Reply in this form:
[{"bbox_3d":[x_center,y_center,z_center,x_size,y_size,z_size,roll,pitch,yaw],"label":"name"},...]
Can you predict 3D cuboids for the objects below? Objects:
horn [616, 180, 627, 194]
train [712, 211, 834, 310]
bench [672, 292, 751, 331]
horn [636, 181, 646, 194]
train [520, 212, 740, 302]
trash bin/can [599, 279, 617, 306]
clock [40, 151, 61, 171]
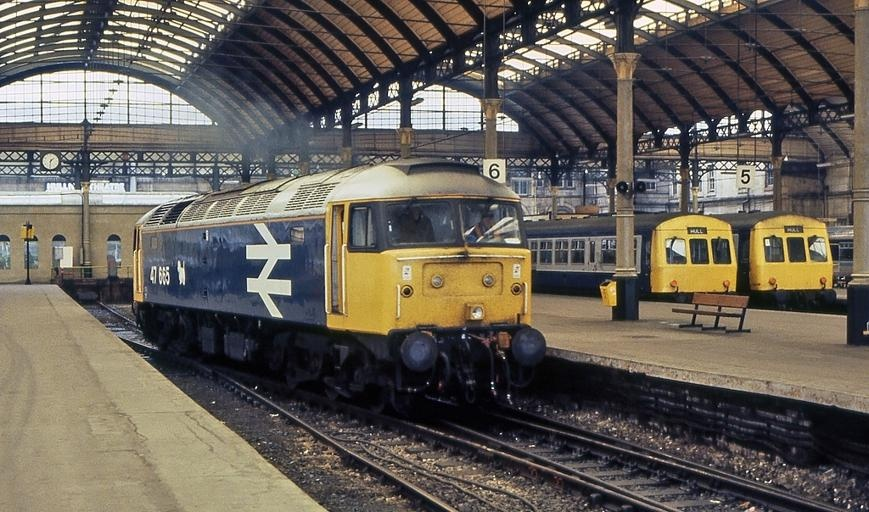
[{"bbox_3d":[7.022,-2.553,35.171,0.438,0.457,0.350,-2,2,3],"label":"horn"},{"bbox_3d":[17.121,0.158,48.144,3.388,5.038,10.525,-1,2,8],"label":"train"},{"bbox_3d":[9.762,2.018,33.282,1.121,1.362,3.092,2,-1,-17],"label":"bench"},{"bbox_3d":[7.945,-2.674,36.242,0.292,0.417,2.223,-2,3,16],"label":"horn"},{"bbox_3d":[9.747,-0.102,44.724,4.118,4.373,15.092,-1,0,-21],"label":"train"},{"bbox_3d":[6.574,1.452,35.586,0.570,1.078,0.867,-2,2,-2],"label":"trash bin/can"},{"bbox_3d":[-31.158,-7.844,76.542,1.452,1.701,0.237,-5,-31,-3],"label":"clock"}]
